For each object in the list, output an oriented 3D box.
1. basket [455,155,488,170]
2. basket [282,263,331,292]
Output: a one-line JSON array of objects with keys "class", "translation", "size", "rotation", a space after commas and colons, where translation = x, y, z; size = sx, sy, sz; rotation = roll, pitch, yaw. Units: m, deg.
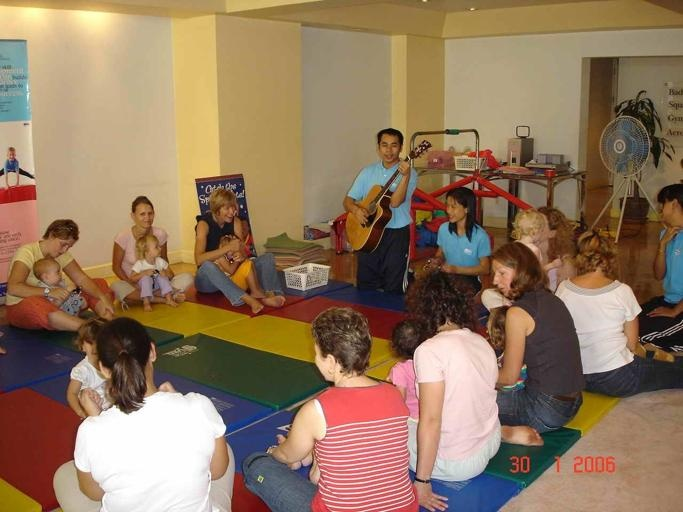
[{"class": "basket", "translation": [2.017, -1.436, 8.372], "size": [0.458, 0.212, 0.326], "rotation": [1, 9, 17]}, {"class": "basket", "translation": [-0.367, 0.221, 5.767], "size": [0.282, 0.177, 0.388], "rotation": [13, 22, 40]}]
